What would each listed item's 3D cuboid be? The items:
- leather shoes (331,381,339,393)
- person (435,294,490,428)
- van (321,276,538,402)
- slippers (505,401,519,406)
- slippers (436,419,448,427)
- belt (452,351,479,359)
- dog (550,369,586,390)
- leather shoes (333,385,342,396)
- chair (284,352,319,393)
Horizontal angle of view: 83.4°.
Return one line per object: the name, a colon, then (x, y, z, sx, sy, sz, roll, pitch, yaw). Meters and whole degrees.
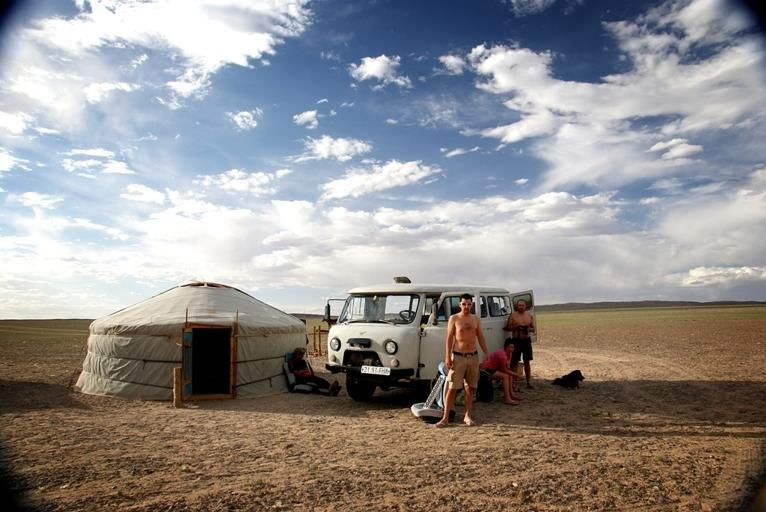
leather shoes: (-1.562, 4.262, 13.975, 0.180, 0.414, 0.189, 7, -11, -15)
person: (1.853, 2.423, 10.136, 1.122, 3.107, 0.893, -2, -3, 6)
van: (1.265, 2.385, 11.664, 5.151, 2.116, 2.937, 4, -4, -44)
slippers: (3.588, 4.048, 11.949, 0.280, 0.157, 0.123, -8, -6, 43)
slippers: (1.374, 3.924, 10.112, 0.288, 0.150, 0.134, 6, -11, -8)
belt: (1.897, 2.231, 9.867, 0.647, 0.163, 0.106, 1, -3, -24)
dog: (6.056, 4.026, 14.134, 0.894, 0.488, 0.673, -2, -3, 12)
leather shoes: (-1.513, 4.318, 13.963, 0.186, 0.366, 0.177, 8, 3, -25)
chair: (-3.050, 4.129, 15.307, 1.505, 1.344, 1.326, -8, -16, 17)
